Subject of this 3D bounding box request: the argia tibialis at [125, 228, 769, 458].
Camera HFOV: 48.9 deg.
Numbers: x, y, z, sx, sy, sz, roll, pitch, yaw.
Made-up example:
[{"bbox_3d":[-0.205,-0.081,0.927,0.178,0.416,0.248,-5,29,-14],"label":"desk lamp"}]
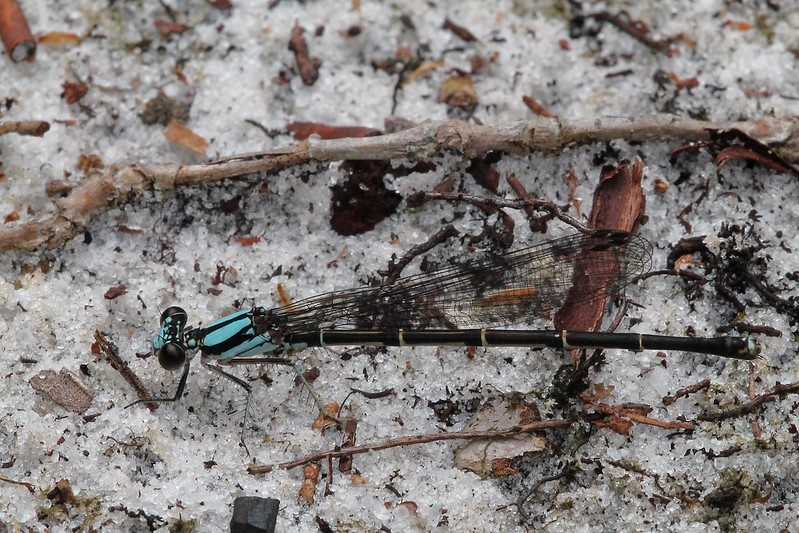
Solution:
[{"bbox_3d":[0.129,0.339,5.425,3.399,0.533,0.764,-6,82,-2],"label":"argia tibialis"}]
